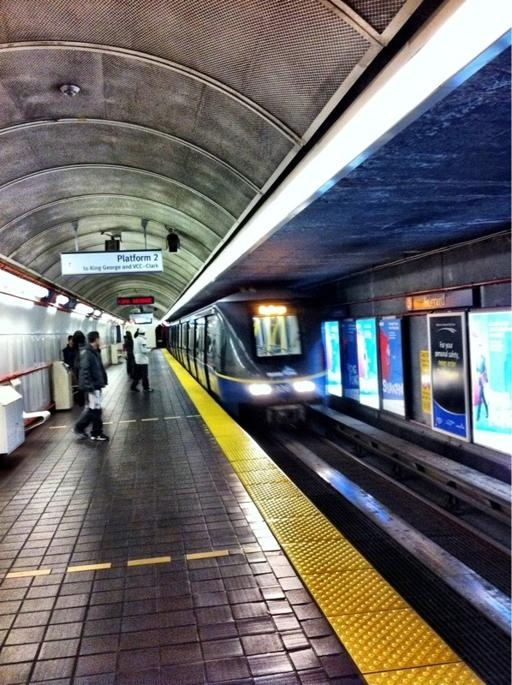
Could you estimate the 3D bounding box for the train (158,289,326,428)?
[{"bbox_3d":[-0.526,0.313,11.193,1.709,2.340,4.743,-6,2,-25],"label":"train"}]
